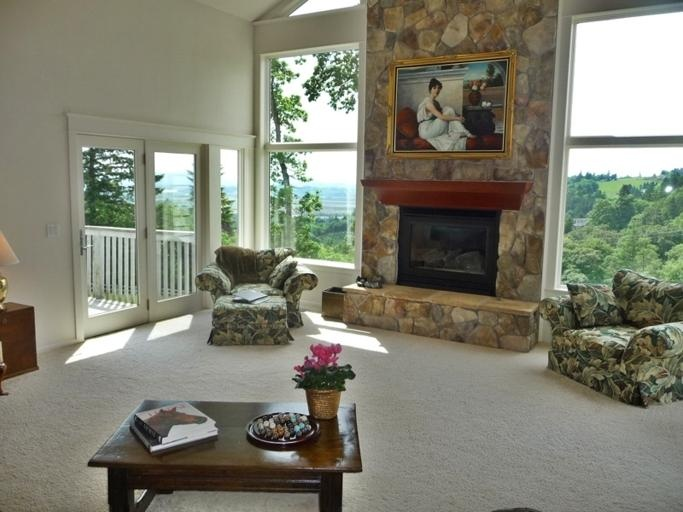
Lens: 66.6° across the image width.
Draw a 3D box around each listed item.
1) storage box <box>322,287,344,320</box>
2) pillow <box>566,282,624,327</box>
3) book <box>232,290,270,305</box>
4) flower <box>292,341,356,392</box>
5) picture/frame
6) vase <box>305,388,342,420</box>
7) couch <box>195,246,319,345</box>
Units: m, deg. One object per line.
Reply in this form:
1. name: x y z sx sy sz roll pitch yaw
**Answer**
1. storage box: -0.089 0.678 7.516 0.360 0.406 0.513 1 8 8
2. pillow: 2.720 0.495 5.555 0.498 0.499 0.155 -9 -10 -8
3. book: -1.140 0.499 6.508 0.423 0.078 0.496 -2 14 -10
4. flower: -0.140 0.765 3.658 0.361 0.339 0.315 -7 15 -29
5. picture/frame: 1.472 -1.968 6.682 1.464 1.132 0.062 3 5 28
6. vase: -0.133 1.017 3.661 0.220 0.173 0.208 0 -3 24
7. couch: -1.106 0.480 6.760 1.393 0.967 1.301 -1 13 -6
